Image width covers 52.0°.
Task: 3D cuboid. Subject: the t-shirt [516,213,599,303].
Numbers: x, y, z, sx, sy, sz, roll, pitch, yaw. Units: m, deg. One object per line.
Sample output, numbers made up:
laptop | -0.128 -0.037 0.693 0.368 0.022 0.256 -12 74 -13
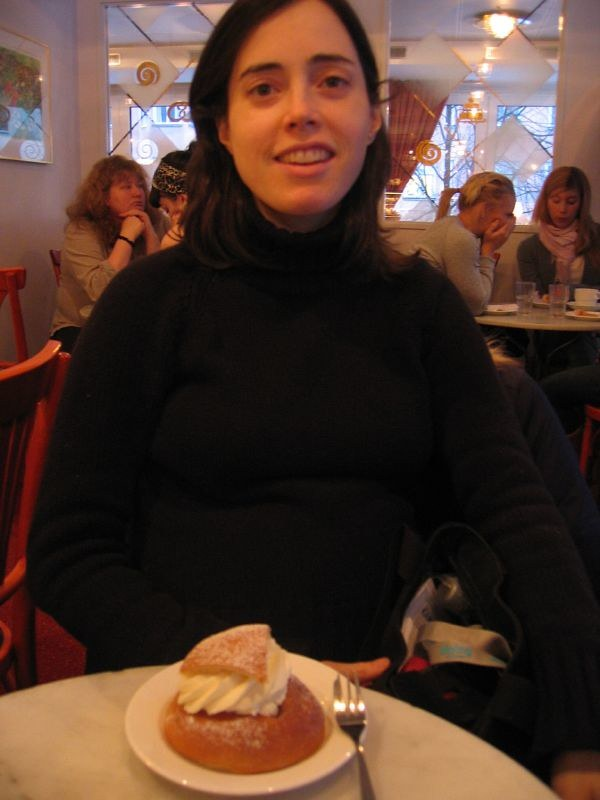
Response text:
t-shirt | 1.764 -0.929 4.210 0.582 0.752 0.282 -1 1 30

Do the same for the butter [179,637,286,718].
butter | -0.035 0.144 0.334 0.033 0.012 0.037 12 16 19

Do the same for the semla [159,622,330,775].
semla | -0.029 0.150 0.330 0.061 0.034 0.060 3 9 16

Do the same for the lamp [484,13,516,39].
lamp | 1.493 -2.788 4.558 0.172 0.166 0.040 -11 14 3
